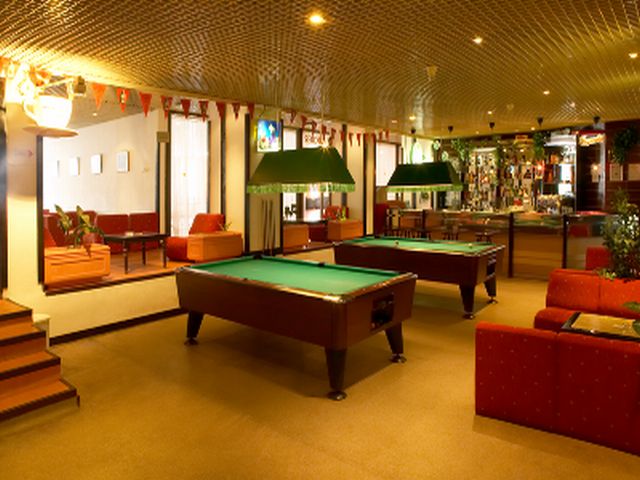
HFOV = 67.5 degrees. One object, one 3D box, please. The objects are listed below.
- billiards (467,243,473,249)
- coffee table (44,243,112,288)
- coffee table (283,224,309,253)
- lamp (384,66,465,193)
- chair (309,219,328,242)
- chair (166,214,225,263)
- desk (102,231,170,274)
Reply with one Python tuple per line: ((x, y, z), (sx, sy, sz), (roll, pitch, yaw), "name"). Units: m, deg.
((2.314, 0.095, 7.383), (0.054, 0.058, 0.101), (6, 9, 7), "billiards")
((-3.412, 0.342, 6.530), (0.490, 0.434, 0.845), (1, 2, 29), "coffee table")
((-0.557, -0.061, 10.995), (0.550, 0.478, 0.550), (-8, 11, -40), "coffee table")
((1.794, -1.520, 8.322), (1.145, 1.423, 0.511), (1, 5, 39), "lamp")
((-0.024, -0.203, 12.986), (0.588, 0.635, 0.453), (8, 13, 38), "chair")
((-2.581, -0.087, 9.375), (0.907, 0.963, 0.964), (18, 2, -14), "chair")
((-3.036, 0.199, 8.082), (0.564, 0.555, 0.728), (0, 4, 29), "desk")
